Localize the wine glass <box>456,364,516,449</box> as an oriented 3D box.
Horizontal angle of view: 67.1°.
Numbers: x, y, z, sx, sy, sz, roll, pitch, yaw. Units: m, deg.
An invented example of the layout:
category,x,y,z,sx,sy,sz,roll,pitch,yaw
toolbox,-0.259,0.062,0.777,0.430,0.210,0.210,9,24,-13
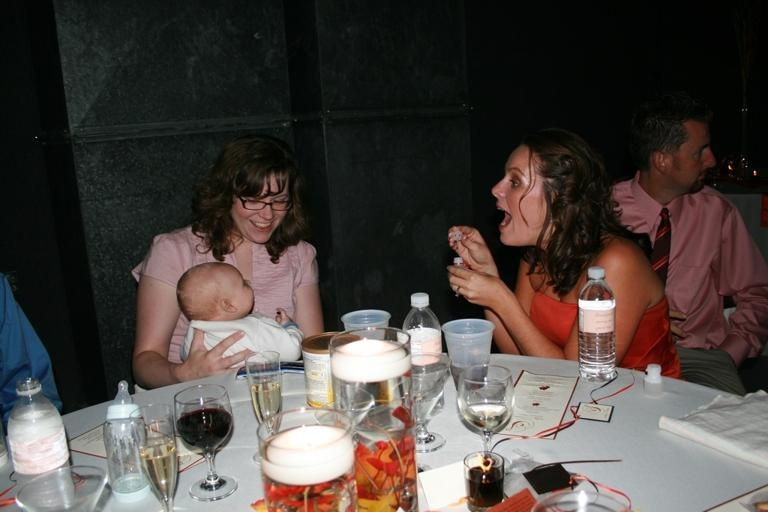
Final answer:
category,x,y,z,sx,sy,sz,roll,pitch,yaw
wine glass,0.313,0.441,1.794,0.164,0.251,0.238,-2,8,9
